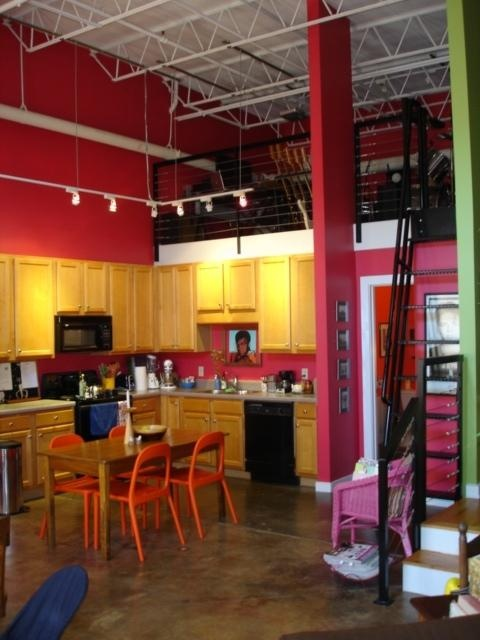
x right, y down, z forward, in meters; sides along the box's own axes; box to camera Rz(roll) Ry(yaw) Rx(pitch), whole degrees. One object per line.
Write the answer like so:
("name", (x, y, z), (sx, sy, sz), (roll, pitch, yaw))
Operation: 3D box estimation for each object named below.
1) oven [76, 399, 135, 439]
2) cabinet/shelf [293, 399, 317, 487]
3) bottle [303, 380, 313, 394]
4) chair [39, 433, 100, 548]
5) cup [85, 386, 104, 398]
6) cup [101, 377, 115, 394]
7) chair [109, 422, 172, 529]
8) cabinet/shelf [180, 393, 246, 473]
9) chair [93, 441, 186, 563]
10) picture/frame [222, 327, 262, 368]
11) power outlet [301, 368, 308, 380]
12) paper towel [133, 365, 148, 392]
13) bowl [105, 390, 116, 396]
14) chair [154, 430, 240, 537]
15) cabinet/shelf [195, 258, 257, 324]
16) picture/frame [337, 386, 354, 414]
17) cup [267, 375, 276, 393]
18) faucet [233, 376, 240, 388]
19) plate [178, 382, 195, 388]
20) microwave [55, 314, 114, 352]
("oven", (-1.793, 1.264, 6.633), (0.349, 0.463, 0.654), (-6, -7, 39))
("cabinet/shelf", (0.759, 1.387, 6.219), (0.106, 0.851, 0.302), (3, -7, -40))
("bottle", (0.882, 0.844, 6.807), (0.142, 0.188, 0.133), (-1, 5, 0))
("chair", (-1.460, 1.539, 4.676), (0.511, 0.771, 0.536), (7, -16, 5))
("cup", (-1.867, 0.925, 6.747), (0.143, 0.140, 0.135), (0, 3, 0))
("cup", (-1.743, 0.866, 7.052), (0.158, 0.185, 0.169), (0, 3, 0))
("chair", (-0.793, 1.399, 4.395), (0.487, 0.726, 0.467), (-7, -1, 41))
("cabinet/shelf", (-0.276, 1.351, 6.336), (0.972, 0.956, 0.411), (-2, -5, 35))
("chair", (-0.831, 1.456, 4.412), (0.675, 0.859, 0.726), (2, -3, -26))
("picture/frame", (0.050, 0.384, 7.629), (0.575, 0.608, 0.042), (-2, -3, 42))
("power outlet", (0.851, 0.706, 7.031), (0.046, 0.141, 0.129), (3, -6, -37))
("paper towel", (-1.409, 0.840, 7.564), (0.188, 0.368, 0.399), (0, -5, -11))
("bowl", (-1.678, 0.954, 6.893), (0.082, 0.052, 0.083), (3, 3, 0))
("chair", (-0.359, 1.467, 4.845), (0.589, 0.785, 0.608), (-2, -4, -16))
("cabinet/shelf", (-0.166, -0.405, 7.257), (0.895, 0.816, 0.437), (0, 0, 35))
("picture/frame", (1.214, 0.933, 6.161), (0.037, 0.363, 0.349), (2, 1, 35))
("cup", (0.446, 0.863, 7.231), (0.085, 0.227, 0.182), (3, -6, -36))
("faucet", (-0.066, 0.913, 7.677), (0.081, 0.163, 0.093), (-3, -5, 22))
("plate", (-0.767, 0.954, 7.862), (0.221, 0.131, 0.179), (1, -5, -18))
("microwave", (-2.027, 0.160, 6.720), (0.414, 0.461, 0.694), (-2, -2, 33))
